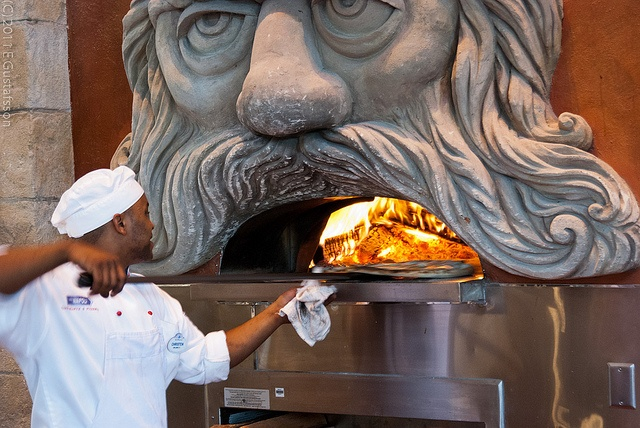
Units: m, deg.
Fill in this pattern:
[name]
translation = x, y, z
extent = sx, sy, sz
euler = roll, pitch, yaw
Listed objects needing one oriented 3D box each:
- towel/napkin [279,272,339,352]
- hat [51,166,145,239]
[towel/napkin]
translation = -0.045, 0.377, 4.857
extent = 0.246, 0.244, 0.094
euler = -43, 18, -22
[hat]
translation = -0.867, -0.052, 4.740
extent = 0.314, 0.123, 0.226
euler = -35, 40, -7
